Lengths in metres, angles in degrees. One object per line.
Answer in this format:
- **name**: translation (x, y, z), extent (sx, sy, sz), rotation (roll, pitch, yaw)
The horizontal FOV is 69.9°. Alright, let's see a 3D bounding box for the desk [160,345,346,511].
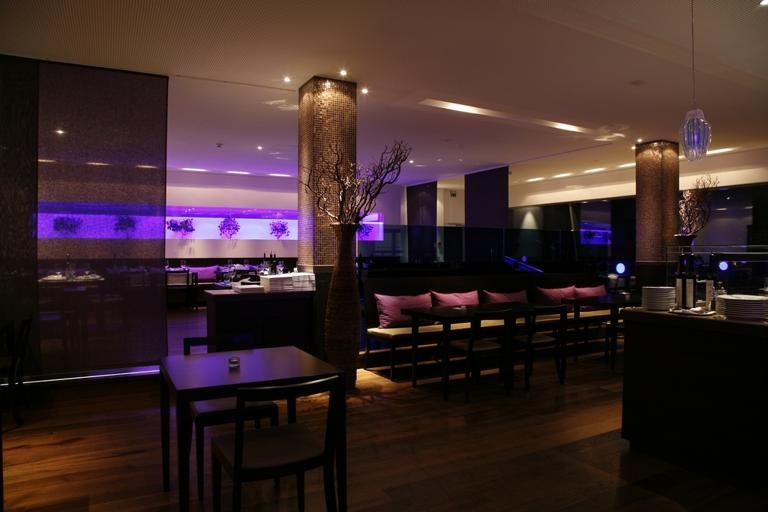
- **desk**: translation (-1.190, 1.176, 4.871), extent (1.519, 1.319, 1.448), rotation (1, -4, -24)

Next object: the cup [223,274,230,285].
- **cup**: translation (-3.490, 0.522, 12.212), extent (0.189, 0.194, 0.171), rotation (1, -3, -13)

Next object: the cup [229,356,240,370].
- **cup**: translation (-1.299, 0.934, 4.764), extent (0.092, 0.093, 0.087), rotation (1, -2, 0)

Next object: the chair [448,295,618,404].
- **chair**: translation (2.183, 1.143, 7.551), extent (1.450, 1.175, 3.312), rotation (-3, 0, 39)
